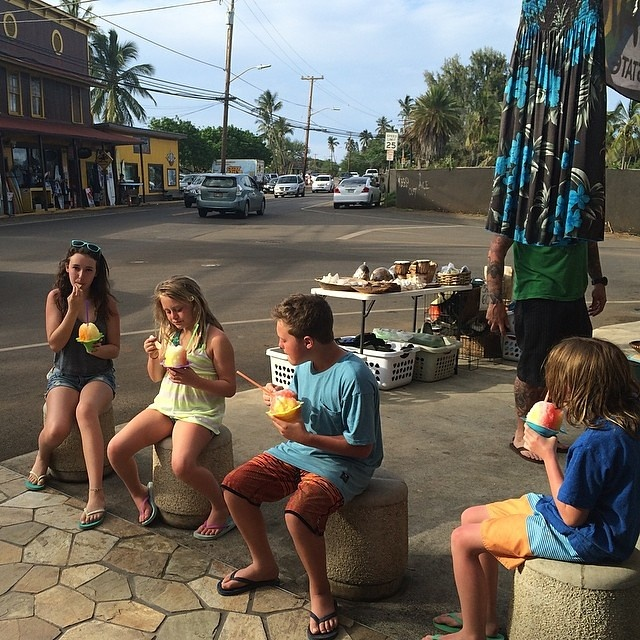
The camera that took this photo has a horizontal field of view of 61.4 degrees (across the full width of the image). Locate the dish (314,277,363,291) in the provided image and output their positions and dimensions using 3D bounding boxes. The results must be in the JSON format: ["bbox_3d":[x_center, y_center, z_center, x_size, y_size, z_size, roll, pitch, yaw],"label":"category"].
[{"bbox_3d":[0.182,-0.355,5.512,0.406,0.106,0.305,2,10,3],"label":"dish"}]

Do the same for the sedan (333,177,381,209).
[{"bbox_3d":[2.400,-7.767,33.133,1.477,2.015,3.714,9,13,41],"label":"sedan"}]

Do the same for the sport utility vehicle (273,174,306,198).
[{"bbox_3d":[-2.512,-11.278,45.760,2.225,1.946,2.065,2,10,8],"label":"sport utility vehicle"}]

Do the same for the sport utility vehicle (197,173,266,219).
[{"bbox_3d":[-4.022,-6.030,26.574,2.347,2.057,4.093,7,11,31],"label":"sport utility vehicle"}]

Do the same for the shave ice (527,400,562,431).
[{"bbox_3d":[0.785,0.323,1.921,0.104,0.118,0.105,16,0,13],"label":"shave ice"}]

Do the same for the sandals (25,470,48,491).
[{"bbox_3d":[-1.805,1.009,3.421,0.117,0.101,0.177,-5,11,-29],"label":"sandals"}]

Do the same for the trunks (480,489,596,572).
[{"bbox_3d":[0.753,0.731,1.869,0.340,0.106,0.217,6,37,28],"label":"trunks"}]

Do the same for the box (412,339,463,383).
[{"bbox_3d":[1.268,0.426,5.816,0.398,0.280,0.547,11,17,42],"label":"box"}]

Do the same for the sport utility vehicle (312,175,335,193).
[{"bbox_3d":[0.419,-13.916,54.600,2.144,1.642,4.474,0,10,7],"label":"sport utility vehicle"}]

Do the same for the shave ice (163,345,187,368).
[{"bbox_3d":[-0.779,0.200,2.916,0.122,0.106,0.115,-5,16,-25],"label":"shave ice"}]

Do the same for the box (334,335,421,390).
[{"bbox_3d":[0.629,0.415,5.494,0.560,0.316,0.732,-7,10,-39],"label":"box"}]

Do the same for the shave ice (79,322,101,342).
[{"bbox_3d":[-1.452,0.072,3.390,0.122,0.135,0.119,-4,3,-40],"label":"shave ice"}]

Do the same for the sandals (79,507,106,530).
[{"bbox_3d":[-1.267,1.101,3.002,0.131,0.066,0.130,-3,11,-23],"label":"sandals"}]

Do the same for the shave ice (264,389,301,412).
[{"bbox_3d":[-0.192,0.344,2.408,0.109,0.048,0.137,11,8,12],"label":"shave ice"}]

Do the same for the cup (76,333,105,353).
[{"bbox_3d":[-1.480,0.133,3.474,0.145,0.069,0.139,0,7,0],"label":"cup"}]

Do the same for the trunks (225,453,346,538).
[{"bbox_3d":[-0.148,0.770,2.365,0.475,0.230,0.302,8,12,35],"label":"trunks"}]

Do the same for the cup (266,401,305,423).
[{"bbox_3d":[-0.148,0.375,2.263,0.137,0.094,0.111,1,10,0],"label":"cup"}]

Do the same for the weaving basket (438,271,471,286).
[{"bbox_3d":[1.531,-0.465,6.069,0.484,0.147,0.197,-4,11,-27],"label":"weaving basket"}]

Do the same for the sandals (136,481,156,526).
[{"bbox_3d":[-0.992,1.068,3.123,0.085,0.052,0.217,-12,54,3],"label":"sandals"}]

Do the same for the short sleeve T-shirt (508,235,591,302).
[{"bbox_3d":[1.604,-0.303,3.937,0.614,0.724,0.410,1,-4,4],"label":"short sleeve T-shirt"}]

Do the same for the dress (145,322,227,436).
[{"bbox_3d":[-0.759,0.342,3.107,0.561,0.613,0.395,12,16,28],"label":"dress"}]
